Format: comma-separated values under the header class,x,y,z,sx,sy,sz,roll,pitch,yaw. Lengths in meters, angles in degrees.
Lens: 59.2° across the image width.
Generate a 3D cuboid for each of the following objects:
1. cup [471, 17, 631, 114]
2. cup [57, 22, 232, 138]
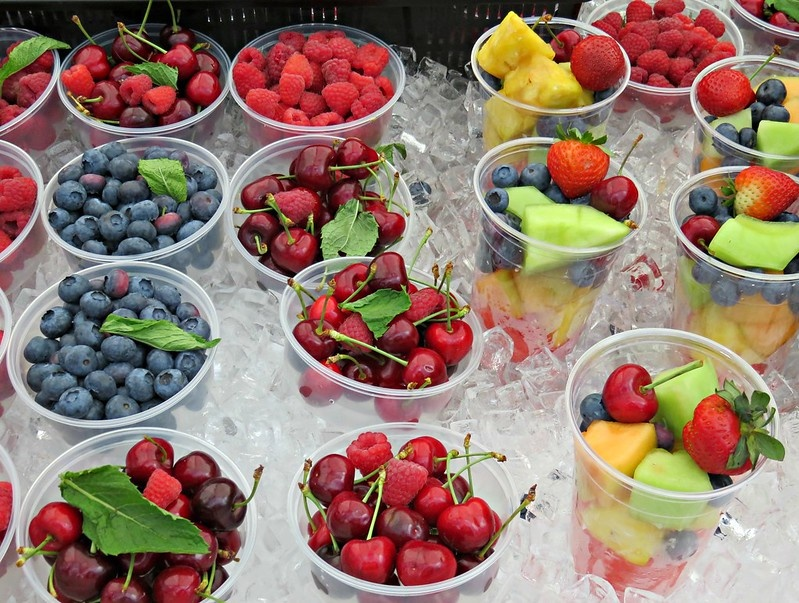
class,x,y,z,sx,sy,sz,roll,pitch,yaw
cup,0.440,-0.686,2.050,0.322,0.193,0.329,4,41,-4
cup,-0.781,-0.697,2.241,0.430,0.301,0.433,5,46,-5
